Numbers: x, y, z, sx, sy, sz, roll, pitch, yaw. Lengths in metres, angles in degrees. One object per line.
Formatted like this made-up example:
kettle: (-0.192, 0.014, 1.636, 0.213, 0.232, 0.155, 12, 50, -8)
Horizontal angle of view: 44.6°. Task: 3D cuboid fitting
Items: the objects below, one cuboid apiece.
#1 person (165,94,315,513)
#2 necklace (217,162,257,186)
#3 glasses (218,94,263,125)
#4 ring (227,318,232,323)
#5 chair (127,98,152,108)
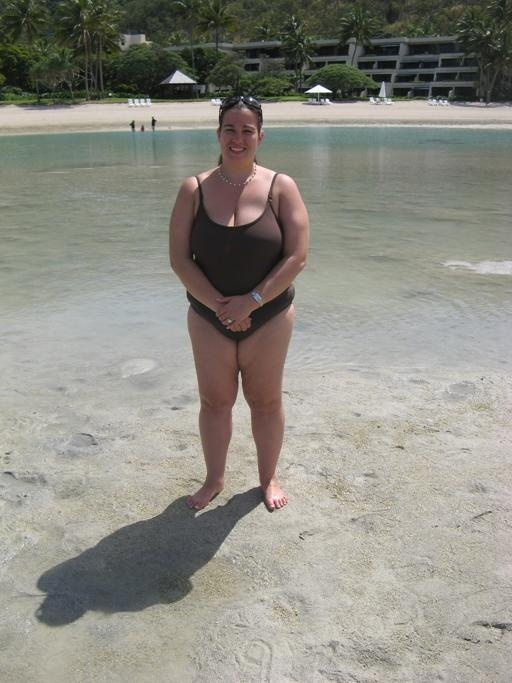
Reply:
person: (-0.079, -0.112, 2.632, 0.557, 1.740, 0.425, -1, 21, -7)
necklace: (-0.084, -0.670, 2.518, 0.170, 0.087, 0.136, 4, 19, 9)
glasses: (-0.062, -0.951, 2.554, 0.175, 0.111, 0.253, 1, 18, -1)
ring: (-0.104, -0.083, 2.420, 0.026, 0.021, 0.006, 1, 1, 0)
chair: (-10.842, -22.124, 57.941, 1.890, 0.842, 3.260, 3, 18, 5)
